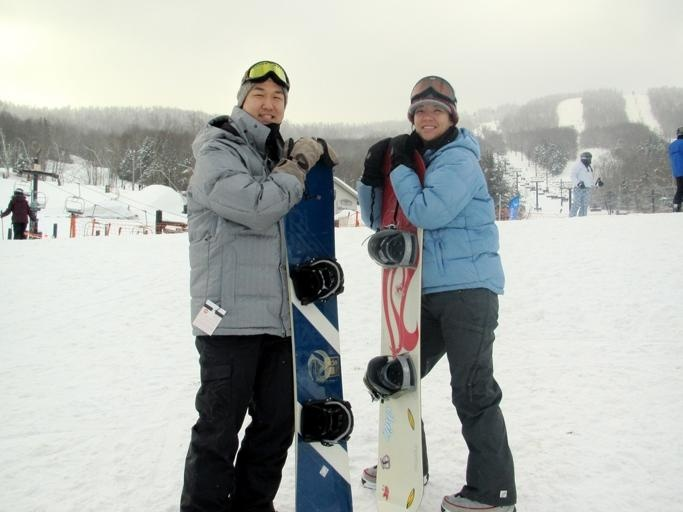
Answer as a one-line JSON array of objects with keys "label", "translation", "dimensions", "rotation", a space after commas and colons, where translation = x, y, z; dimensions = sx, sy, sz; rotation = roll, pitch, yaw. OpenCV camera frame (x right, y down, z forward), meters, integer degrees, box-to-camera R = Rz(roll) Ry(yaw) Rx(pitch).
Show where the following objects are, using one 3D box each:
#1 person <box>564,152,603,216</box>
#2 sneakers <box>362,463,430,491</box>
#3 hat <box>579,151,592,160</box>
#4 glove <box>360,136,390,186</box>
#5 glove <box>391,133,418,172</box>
[{"label": "person", "translation": [4.787, -1.456, 13.247], "dimensions": [0.588, 1.379, 1.041], "rotation": [0, -2, 20]}, {"label": "sneakers", "translation": [0.435, 1.715, 5.405], "dimensions": [0.571, 0.290, 0.206], "rotation": [0, 2, 9]}, {"label": "hat", "translation": [4.715, -1.936, 13.067], "dimensions": [0.191, 0.205, 0.243], "rotation": [-3, 5, -28]}, {"label": "glove", "translation": [0.253, -0.773, 5.458], "dimensions": [0.251, 0.352, 0.119], "rotation": [-4, 17, -38]}, {"label": "glove", "translation": [0.477, -0.782, 5.202], "dimensions": [0.150, 0.293, 0.070], "rotation": [-2, -8, 3]}]
